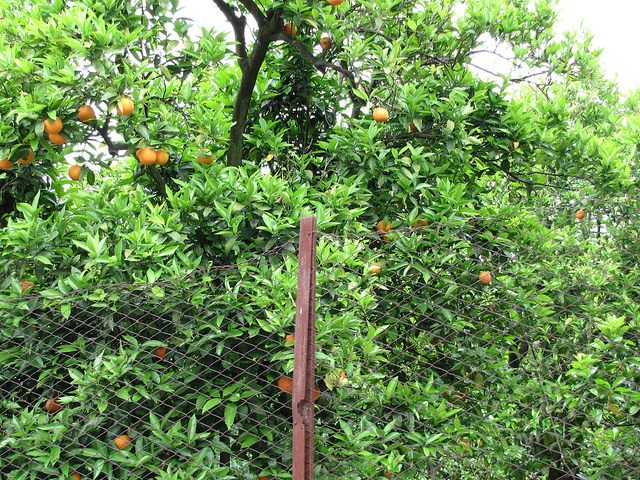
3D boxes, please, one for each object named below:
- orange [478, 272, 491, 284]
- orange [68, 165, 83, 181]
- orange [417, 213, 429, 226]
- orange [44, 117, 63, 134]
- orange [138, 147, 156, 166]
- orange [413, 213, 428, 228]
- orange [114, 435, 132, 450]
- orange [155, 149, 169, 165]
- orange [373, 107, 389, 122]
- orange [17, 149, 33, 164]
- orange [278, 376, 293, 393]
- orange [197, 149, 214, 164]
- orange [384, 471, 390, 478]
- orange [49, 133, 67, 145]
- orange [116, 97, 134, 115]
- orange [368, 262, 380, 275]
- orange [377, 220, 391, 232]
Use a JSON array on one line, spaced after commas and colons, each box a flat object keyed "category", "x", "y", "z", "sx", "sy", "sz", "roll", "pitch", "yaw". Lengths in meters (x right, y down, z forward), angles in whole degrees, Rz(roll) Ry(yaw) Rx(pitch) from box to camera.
[{"category": "orange", "x": 1.176, "y": 0.276, "z": 4.325, "sx": 0.095, "sy": 0.080, "sz": 0.102, "roll": 11, "pitch": 24, "yaw": 10}, {"category": "orange", "x": -1.774, "y": -0.493, "z": 4.403, "sx": 0.104, "sy": 0.106, "sz": 0.103, "roll": -22, "pitch": 26, "yaw": -37}, {"category": "orange", "x": 0.751, "y": -0.146, "z": 4.385, "sx": 0.092, "sy": 0.062, "sz": 0.096, "roll": -1, "pitch": 10, "yaw": 0}, {"category": "orange", "x": -1.796, "y": -0.760, "z": 4.101, "sx": 0.114, "sy": 0.114, "sz": 0.101, "roll": 8, "pitch": -28, "yaw": -5}, {"category": "orange", "x": -1.211, "y": -0.587, "z": 4.215, "sx": 0.130, "sy": 0.128, "sz": 0.121, "roll": 5, "pitch": 9, "yaw": 32}, {"category": "orange", "x": 0.743, "y": -0.116, "z": 4.404, "sx": 0.072, "sy": 0.060, "sz": 0.037, "roll": 11, "pitch": -2, "yaw": -31}, {"category": "orange", "x": -1.232, "y": 1.268, "z": 3.751, "sx": 0.102, "sy": 0.098, "sz": 0.089, "roll": 2, "pitch": -16, "yaw": -9}, {"category": "orange", "x": -1.126, "y": -0.593, "z": 4.333, "sx": 0.100, "sy": 0.103, "sz": 0.118, "roll": 50, "pitch": -7, "yaw": -8}, {"category": "orange", "x": 0.463, "y": -0.962, "z": 4.626, "sx": 0.120, "sy": 0.119, "sz": 0.105, "roll": 1, "pitch": 28, "yaw": 5}, {"category": "orange", "x": -2.087, "y": -0.591, "z": 4.237, "sx": 0.107, "sy": 0.125, "sz": 0.070, "roll": 33, "pitch": 20, "yaw": 35}, {"category": "orange", "x": -0.219, "y": 0.914, "z": 3.814, "sx": 0.111, "sy": 0.109, "sz": 0.101, "roll": 2, "pitch": 7, "yaw": 3}, {"category": "orange", "x": -0.857, "y": -0.590, "z": 4.471, "sx": 0.104, "sy": 0.074, "sz": 0.103, "roll": 17, "pitch": 17, "yaw": -7}, {"category": "orange", "x": 0.437, "y": 1.528, "z": 3.894, "sx": 0.037, "sy": 0.037, "sz": 0.034, "roll": 0, "pitch": 1, "yaw": 3}, {"category": "orange", "x": -1.817, "y": -0.701, "z": 4.170, "sx": 0.074, "sy": 0.076, "sz": 0.064, "roll": 2, "pitch": 47, "yaw": 3}, {"category": "orange", "x": -1.321, "y": -0.911, "z": 4.139, "sx": 0.121, "sy": 0.124, "sz": 0.117, "roll": -6, "pitch": -5, "yaw": -38}, {"category": "orange", "x": 0.378, "y": 0.187, "z": 4.038, "sx": 0.083, "sy": 0.070, "sz": 0.079, "roll": 16, "pitch": -24, "yaw": -27}, {"category": "orange", "x": 0.486, "y": -0.096, "z": 4.505, "sx": 0.094, "sy": 0.064, "sz": 0.097, "roll": 6, "pitch": -17, "yaw": -3}]
